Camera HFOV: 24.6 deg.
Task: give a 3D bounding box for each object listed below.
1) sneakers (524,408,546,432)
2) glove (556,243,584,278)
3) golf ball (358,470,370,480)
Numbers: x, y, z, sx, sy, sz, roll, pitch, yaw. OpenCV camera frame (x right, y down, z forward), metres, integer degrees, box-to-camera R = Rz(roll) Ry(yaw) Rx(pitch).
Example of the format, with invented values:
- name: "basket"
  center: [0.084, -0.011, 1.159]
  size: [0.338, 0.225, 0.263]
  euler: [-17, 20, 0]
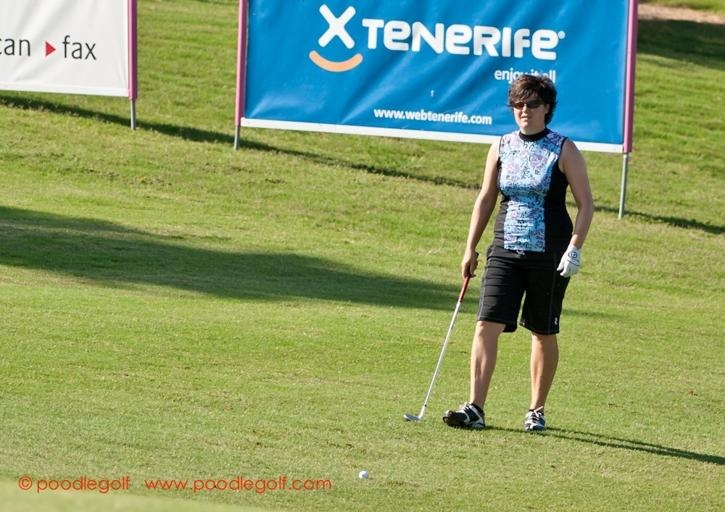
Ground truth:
- name: "sneakers"
  center: [1.931, 1.824, 18.636]
  size: [0.180, 0.221, 0.502]
  euler: [0, -8, 5]
- name: "glove"
  center: [2.297, 0.070, 18.466]
  size: [0.124, 0.343, 0.256]
  euler: [4, 19, -1]
- name: "golf ball"
  center: [0.000, 2.305, 17.641]
  size: [0.088, 0.059, 0.078]
  euler: [0, -1, -8]
